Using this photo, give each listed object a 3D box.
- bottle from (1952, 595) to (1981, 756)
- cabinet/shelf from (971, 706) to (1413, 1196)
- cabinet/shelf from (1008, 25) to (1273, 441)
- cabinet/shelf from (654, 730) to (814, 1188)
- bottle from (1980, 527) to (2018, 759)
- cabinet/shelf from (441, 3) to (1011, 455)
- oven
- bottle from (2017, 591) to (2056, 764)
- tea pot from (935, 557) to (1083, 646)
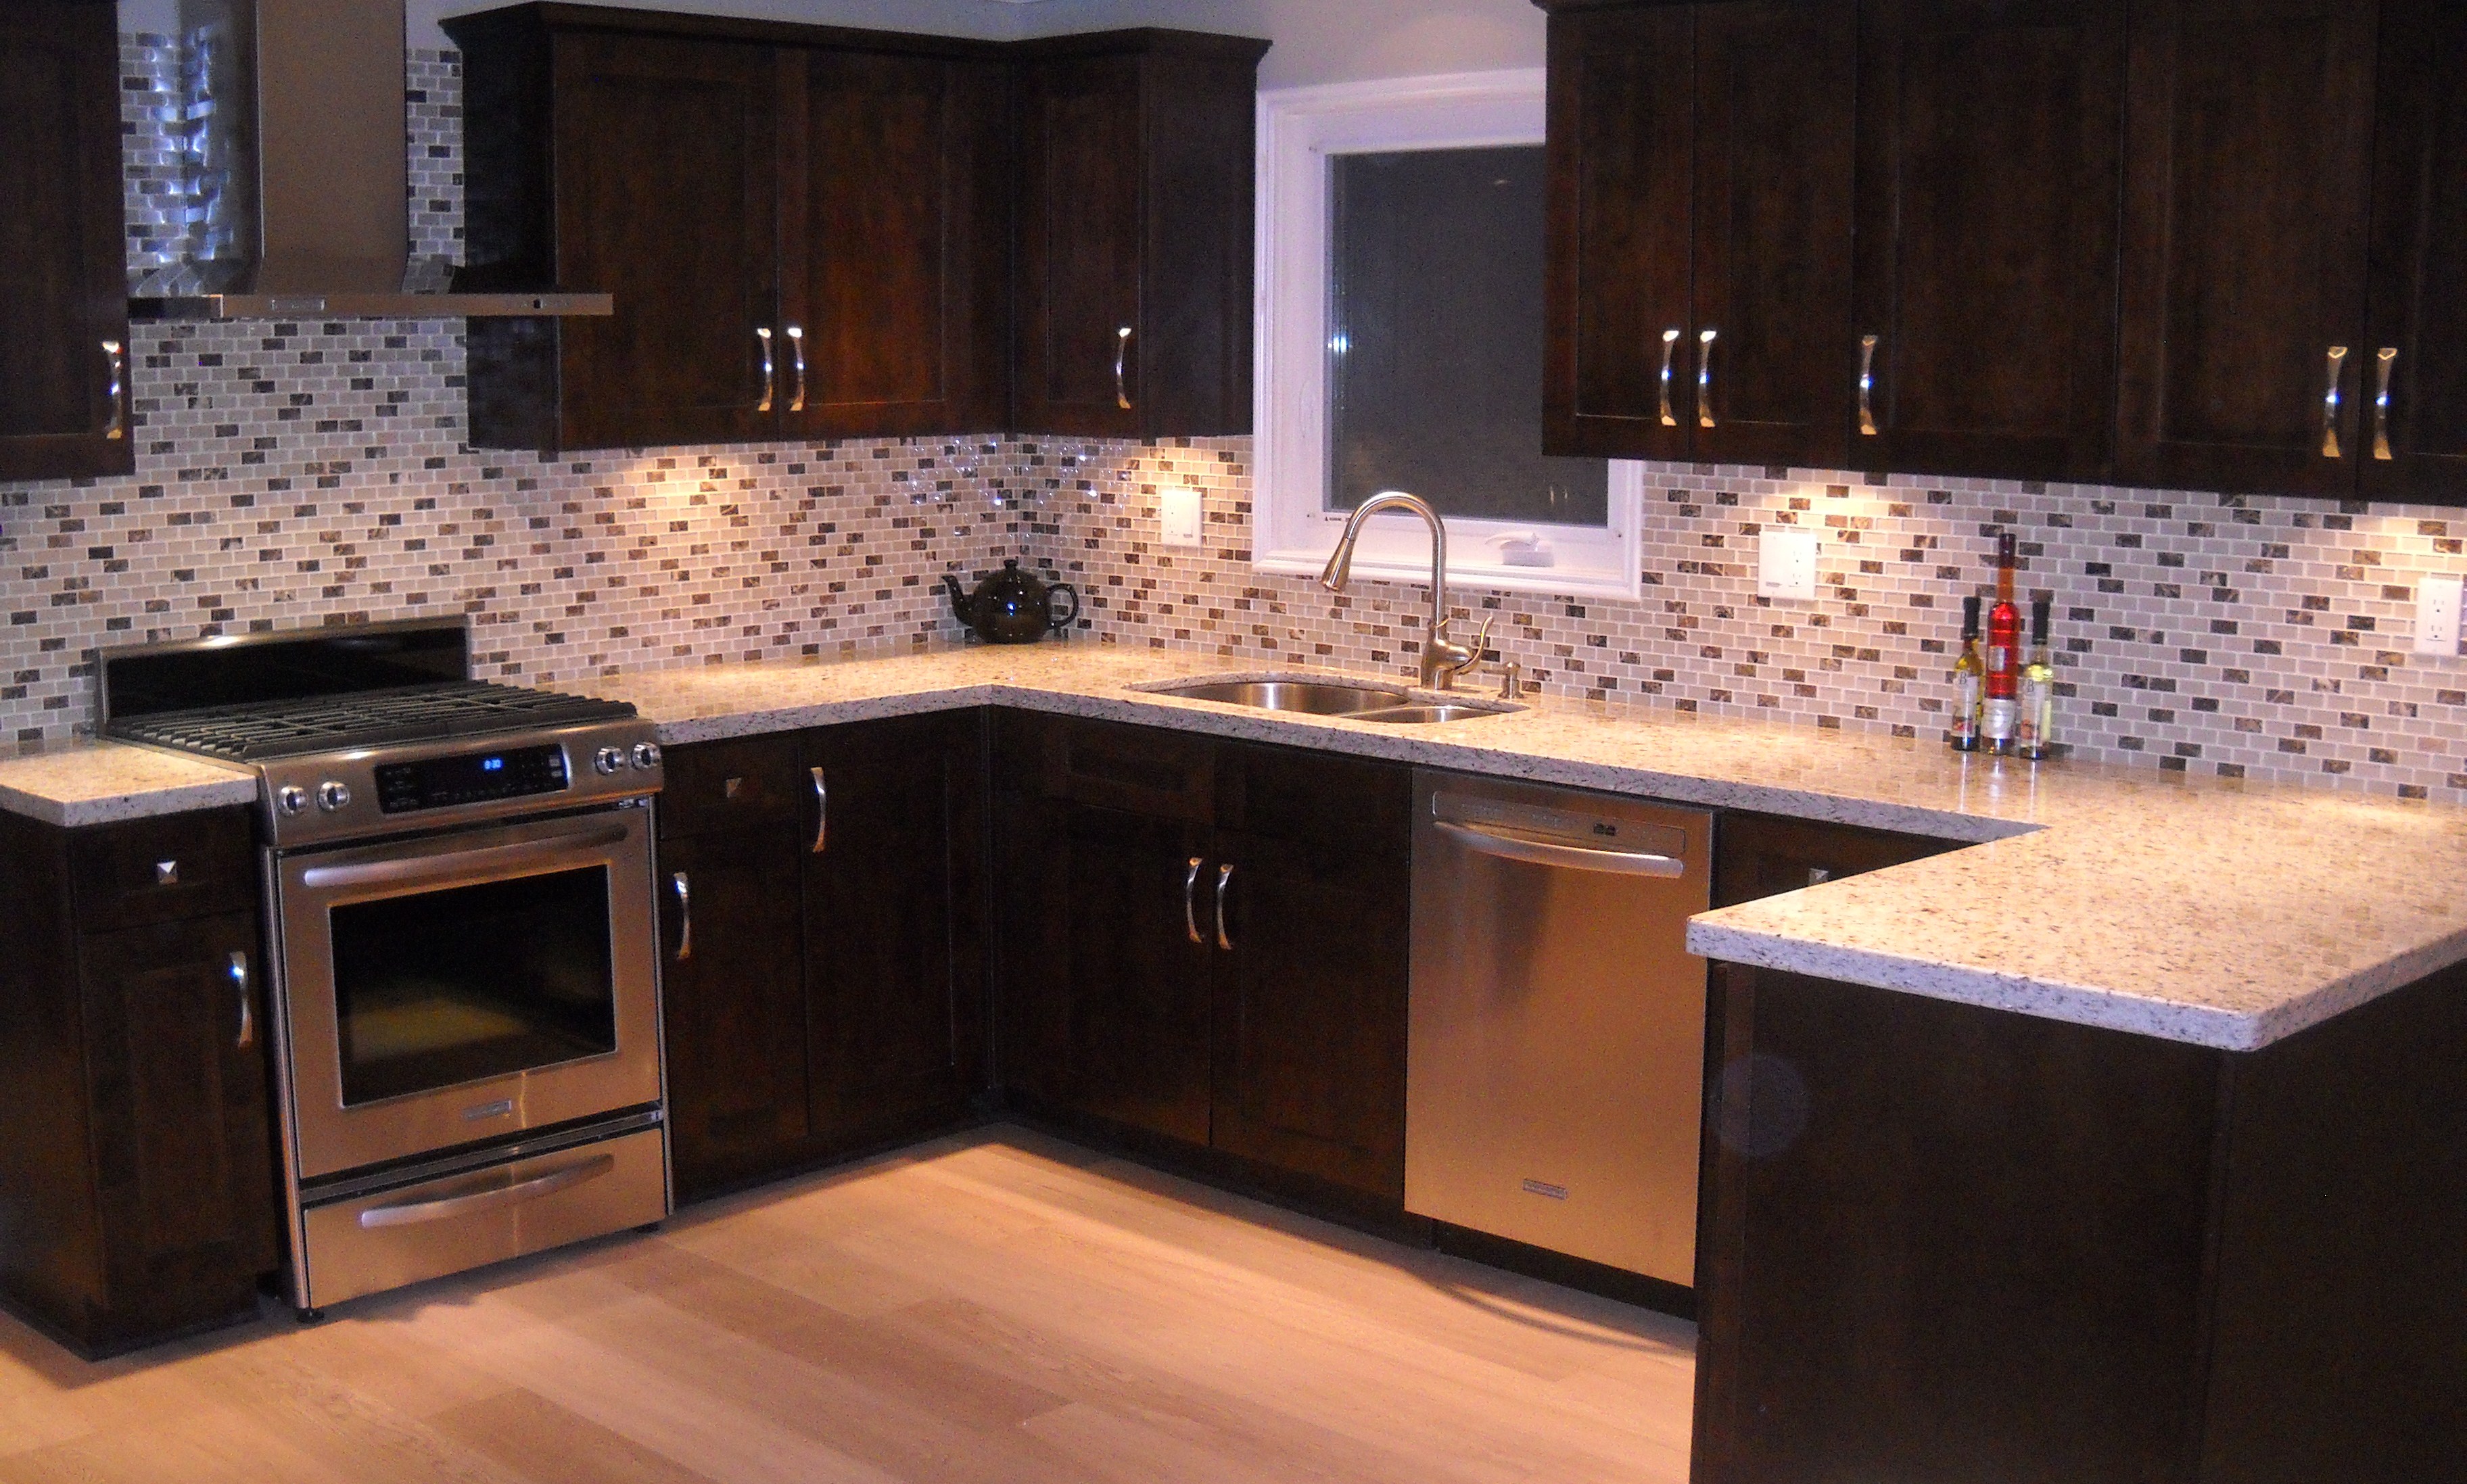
[{"bbox_3d":[1.846,-0.173,4.797,0.073,0.369,0.150,3,13,20],"label":"bottle"},{"bbox_3d":[-0.072,0.561,5.262,1.325,1.058,0.519,6,9,36],"label":"cabinet/shelf"},{"bbox_3d":[-0.287,-1.517,5.787,0.744,1.163,0.366,-1,12,1],"label":"cabinet/shelf"},{"bbox_3d":[-1.366,0.616,5.221,0.392,1.228,0.117,-7,13,-24],"label":"cabinet/shelf"},{"bbox_3d":[1.918,-0.243,4.757,0.093,0.528,0.133,3,13,20],"label":"bottle"},{"bbox_3d":[-1.503,-1.460,5.436,1.400,0.961,0.501,-8,12,-41],"label":"cabinet/shelf"},{"bbox_3d":[-2.276,0.685,5.111,1.101,1.396,1.189,4,6,41],"label":"oven"},{"bbox_3d":[1.992,-0.162,4.726,0.087,0.393,0.133,6,14,32],"label":"bottle"},{"bbox_3d":[-0.723,-0.462,6.258,0.414,0.211,0.265,2,7,4],"label":"tea pot"}]
